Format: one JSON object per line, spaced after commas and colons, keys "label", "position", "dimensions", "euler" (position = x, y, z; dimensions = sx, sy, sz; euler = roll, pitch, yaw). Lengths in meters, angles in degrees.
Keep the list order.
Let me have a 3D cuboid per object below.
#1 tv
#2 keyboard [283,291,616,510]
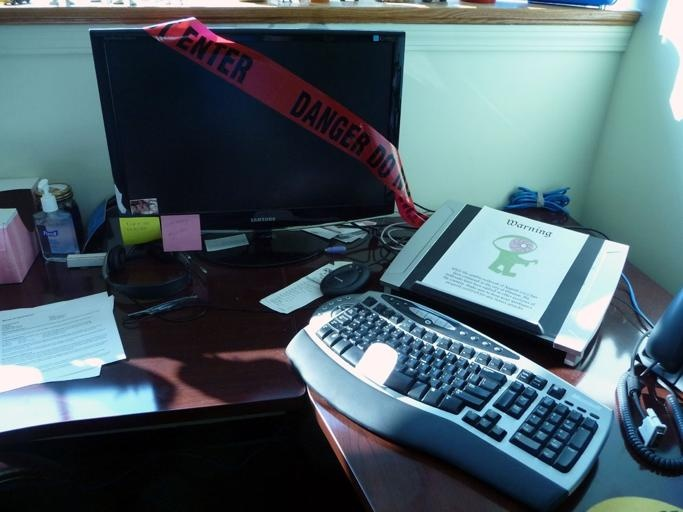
{"label": "tv", "position": [-0.226, -0.263, 1.211], "dimensions": [0.698, 0.443, 0.173], "euler": [-1, 31, -6]}
{"label": "keyboard", "position": [0.161, 0.227, 0.886], "dimensions": [0.498, 0.083, 0.254], "euler": [28, 54, 30]}
